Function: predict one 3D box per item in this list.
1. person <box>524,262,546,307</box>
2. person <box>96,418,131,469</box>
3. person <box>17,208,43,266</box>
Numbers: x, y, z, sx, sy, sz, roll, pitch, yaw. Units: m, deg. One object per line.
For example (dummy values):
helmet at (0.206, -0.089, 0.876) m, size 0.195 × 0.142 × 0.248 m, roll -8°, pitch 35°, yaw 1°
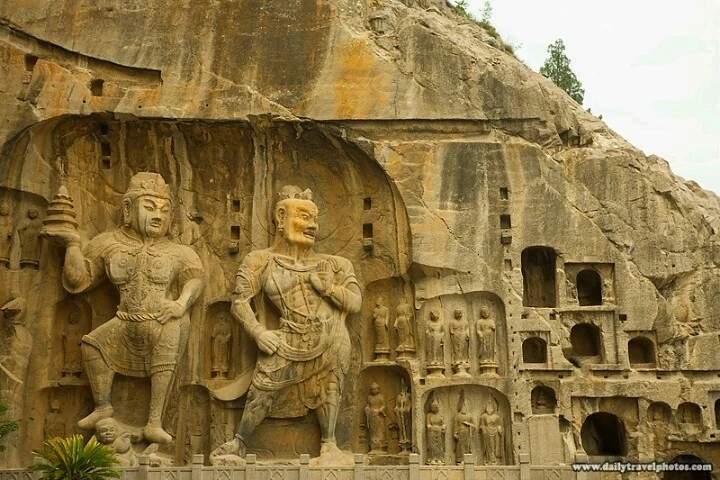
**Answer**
person at (4.184, 1.133, 32.728) m, size 0.481 × 0.927 × 0.262 m, roll -3°, pitch -24°, yaw 5°
person at (-5.629, 4.689, 31.041) m, size 0.882 × 1.264 × 0.720 m, roll -10°, pitch -15°, yaw -4°
person at (-7.736, 0.001, 32.108) m, size 0.536 × 1.317 × 0.425 m, roll 4°, pitch -24°, yaw -11°
